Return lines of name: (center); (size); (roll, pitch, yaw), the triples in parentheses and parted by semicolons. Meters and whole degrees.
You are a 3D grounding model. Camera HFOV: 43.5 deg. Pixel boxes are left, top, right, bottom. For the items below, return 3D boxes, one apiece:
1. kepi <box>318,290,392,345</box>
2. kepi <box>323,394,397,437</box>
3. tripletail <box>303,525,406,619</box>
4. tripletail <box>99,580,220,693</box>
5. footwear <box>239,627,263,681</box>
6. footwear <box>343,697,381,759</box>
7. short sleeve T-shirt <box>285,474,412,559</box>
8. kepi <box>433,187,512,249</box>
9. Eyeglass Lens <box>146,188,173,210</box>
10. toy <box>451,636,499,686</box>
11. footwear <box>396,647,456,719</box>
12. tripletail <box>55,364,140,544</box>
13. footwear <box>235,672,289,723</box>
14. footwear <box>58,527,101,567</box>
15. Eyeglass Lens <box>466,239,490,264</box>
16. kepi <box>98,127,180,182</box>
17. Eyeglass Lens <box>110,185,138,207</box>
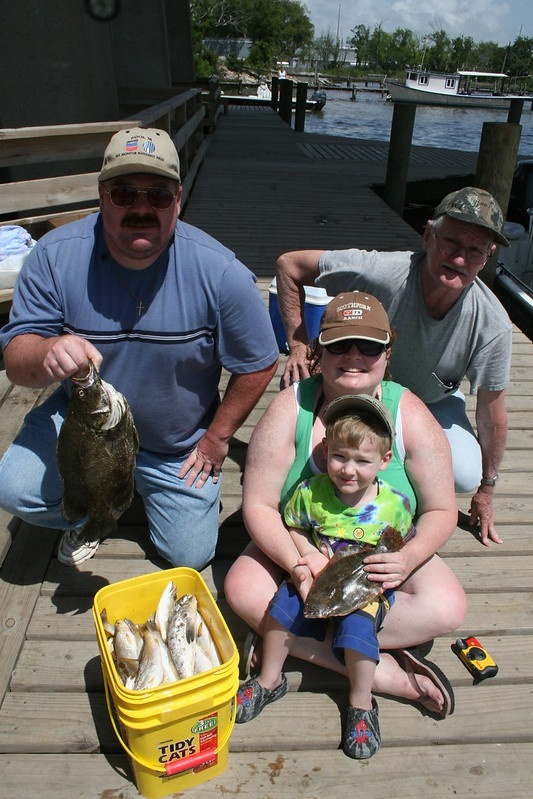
kepi: (0.293, -0.280, 2.223); (0.174, 0.118, 0.224); (3, 11, 8)
kepi: (0.307, 0.070, 2.165); (0.258, 0.122, 0.303); (3, -9, 14)
tripletail: (0.266, 0.585, 2.074); (0.181, 0.294, 0.365); (19, 37, 23)
tripletail: (-0.313, 0.710, 1.964); (0.250, 0.144, 0.237); (-16, 37, -20)
footwear: (-0.052, 0.824, 2.162); (0.037, 0.141, 0.109); (11, -13, -4)
footwear: (0.285, 0.957, 1.989); (0.112, 0.072, 0.213); (-1, 19, 8)
short sleeve T-shirt: (0.279, 0.367, 2.196); (0.490, 0.344, 0.230); (2, 48, 10)
kepi: (0.841, -0.734, 2.742); (0.322, 0.239, 0.271); (12, 35, 14)
Eyeglass Lens: (-0.355, -0.676, 2.248); (0.096, 0.068, 0.042); (-26, 44, -36)
toy: (0.705, 0.879, 2.263); (0.098, 0.040, 0.125); (-13, 27, -7)
footwear: (0.476, 0.851, 2.098); (0.256, 0.087, 0.100); (45, 23, 20)
tripletail: (-0.534, 0.188, 2.118); (0.253, 0.608, 0.158); (-12, 38, -20)
footwear: (-0.019, 0.909, 2.053); (0.072, 0.067, 0.178); (21, 31, 37)
footwear: (-0.703, 0.554, 2.506); (0.090, 0.098, 0.205); (30, 36, -19)
Eyeglass Lens: (0.855, -0.585, 2.682); (0.080, 0.055, 0.098); (1, 11, 9)
kepi: (-0.431, -0.855, 2.321); (0.285, 0.180, 0.370); (0, 19, -8)
Eyeglass Lens: (-0.470, -0.669, 2.204); (0.081, 0.033, 0.076); (1, 20, -6)
